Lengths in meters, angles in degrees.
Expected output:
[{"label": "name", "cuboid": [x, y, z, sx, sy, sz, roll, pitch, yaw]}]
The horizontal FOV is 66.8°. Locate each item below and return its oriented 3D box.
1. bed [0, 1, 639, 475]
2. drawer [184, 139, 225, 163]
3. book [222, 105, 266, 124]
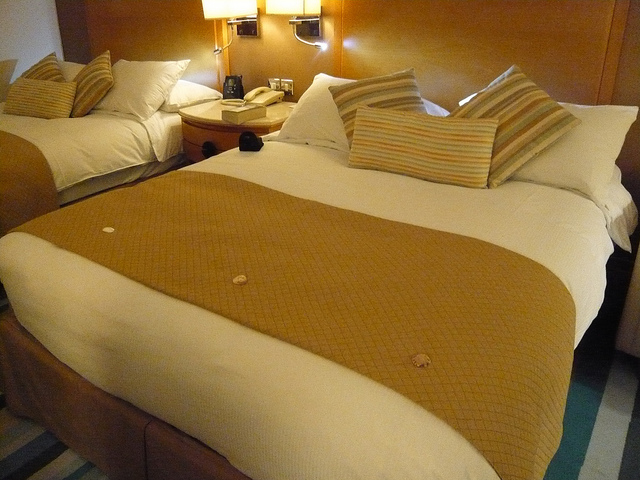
[{"label": "bed", "cuboid": [0.076, -0.066, 2.067, 1.625, 1.072, 1.817, 18, 38, 26]}, {"label": "drawer", "cuboid": [-0.779, -0.617, 3.288, 0.255, 0.110, 0.266, 15, 27, 26]}, {"label": "book", "cuboid": [-0.500, -0.841, 3.283, 0.147, 0.059, 0.207, 18, 30, 33]}]
